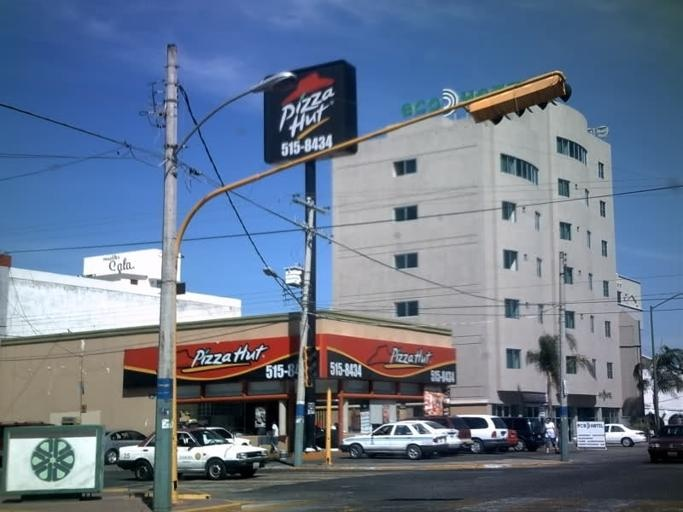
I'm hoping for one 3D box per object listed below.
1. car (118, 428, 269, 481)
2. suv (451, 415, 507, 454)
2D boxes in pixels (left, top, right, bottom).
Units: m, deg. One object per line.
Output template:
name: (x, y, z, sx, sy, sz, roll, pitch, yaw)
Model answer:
car: (-6.727, 9.015, 42.647, 5.470, 2.036, 2.751, -3, -6, 14)
suv: (8.291, 10.450, 56.512, 2.370, 2.496, 2.603, -12, -15, 40)
